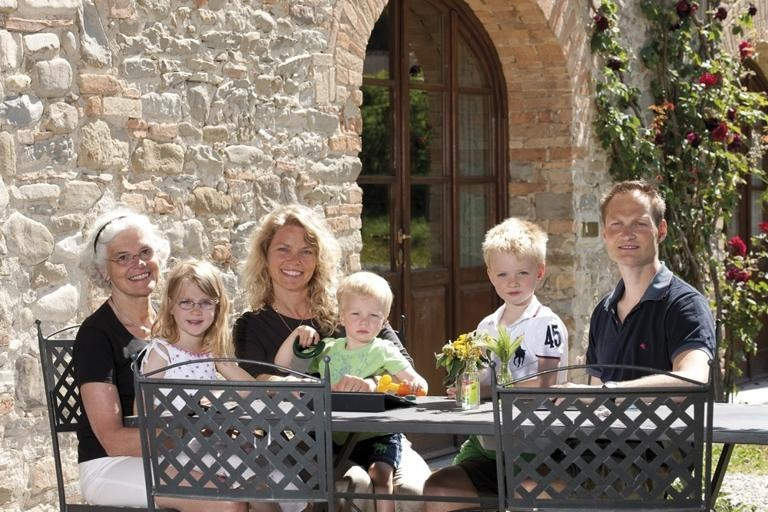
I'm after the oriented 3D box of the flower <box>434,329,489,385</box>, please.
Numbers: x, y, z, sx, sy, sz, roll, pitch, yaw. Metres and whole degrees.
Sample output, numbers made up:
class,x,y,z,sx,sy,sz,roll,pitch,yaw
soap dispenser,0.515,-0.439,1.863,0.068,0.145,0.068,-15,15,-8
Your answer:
class,x,y,z,sx,sy,sz,roll,pitch,yaw
flower,0.384,0.493,4.758,0.229,0.250,0.250,13,16,38

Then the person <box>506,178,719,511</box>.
class,x,y,z,sx,sy,sz,roll,pitch,yaw
person,1.030,0.375,4.958,1.062,1.426,1.136,1,-6,5

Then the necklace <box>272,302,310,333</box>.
class,x,y,z,sx,sy,sz,roll,pitch,yaw
necklace,-0.519,0.330,5.459,0.127,0.034,0.134,36,16,29

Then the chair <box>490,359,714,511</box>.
class,x,y,z,sx,sy,sz,roll,pitch,yaw
chair,0.947,0.793,4.483,0.709,0.546,0.741,-1,1,14

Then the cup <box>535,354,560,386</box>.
class,x,y,z,sx,sy,sz,roll,pitch,yaw
cup,0.774,0.537,4.900,0.071,0.137,0.137,0,2,-7

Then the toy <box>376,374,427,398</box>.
class,x,y,z,sx,sy,sz,roll,pitch,yaw
toy,0.083,0.648,4.946,0.192,0.081,0.118,9,-9,10

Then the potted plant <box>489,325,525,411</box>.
class,x,y,z,sx,sy,sz,roll,pitch,yaw
potted plant,0.563,0.473,4.776,0.138,0.269,0.195,12,23,27
